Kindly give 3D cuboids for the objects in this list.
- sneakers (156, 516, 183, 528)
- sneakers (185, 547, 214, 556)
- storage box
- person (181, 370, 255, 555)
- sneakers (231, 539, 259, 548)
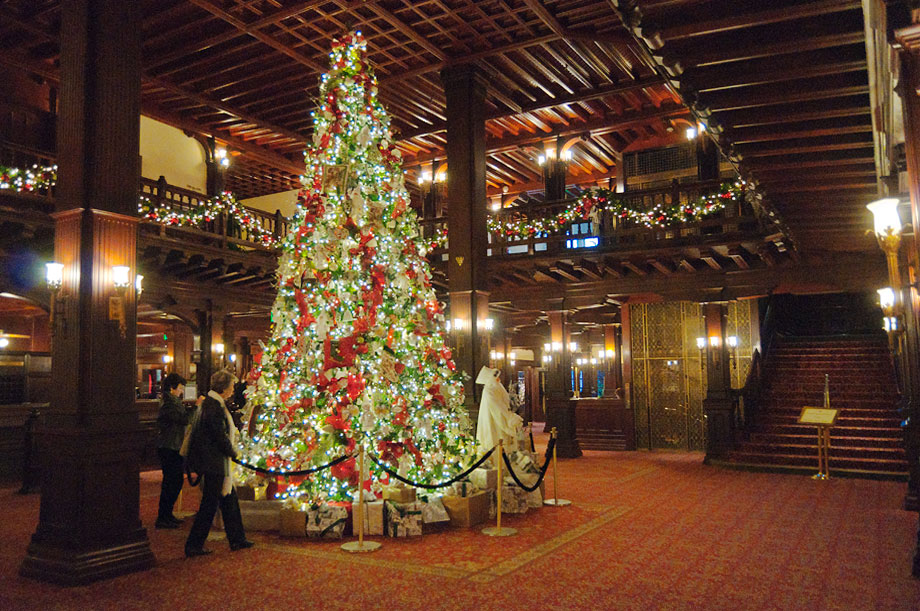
[{"bbox_3d":[-4.022,3.054,10.609,0.429,0.166,0.128,0,-3,0],"label":"sneakers"},{"bbox_3d":[-3.252,3.057,9.411,0.335,0.144,0.110,1,-7,-19],"label":"sneakers"},{"bbox_3d":[-0.898,2.715,10.604,4.177,0.779,0.927,0,2,-13],"label":"storage box"},{"bbox_3d":[-3.039,1.974,9.567,0.757,2.265,0.690,0,2,1],"label":"person"},{"bbox_3d":[-2.775,3.039,9.662,0.287,0.119,0.095,2,-6,-28],"label":"sneakers"}]
